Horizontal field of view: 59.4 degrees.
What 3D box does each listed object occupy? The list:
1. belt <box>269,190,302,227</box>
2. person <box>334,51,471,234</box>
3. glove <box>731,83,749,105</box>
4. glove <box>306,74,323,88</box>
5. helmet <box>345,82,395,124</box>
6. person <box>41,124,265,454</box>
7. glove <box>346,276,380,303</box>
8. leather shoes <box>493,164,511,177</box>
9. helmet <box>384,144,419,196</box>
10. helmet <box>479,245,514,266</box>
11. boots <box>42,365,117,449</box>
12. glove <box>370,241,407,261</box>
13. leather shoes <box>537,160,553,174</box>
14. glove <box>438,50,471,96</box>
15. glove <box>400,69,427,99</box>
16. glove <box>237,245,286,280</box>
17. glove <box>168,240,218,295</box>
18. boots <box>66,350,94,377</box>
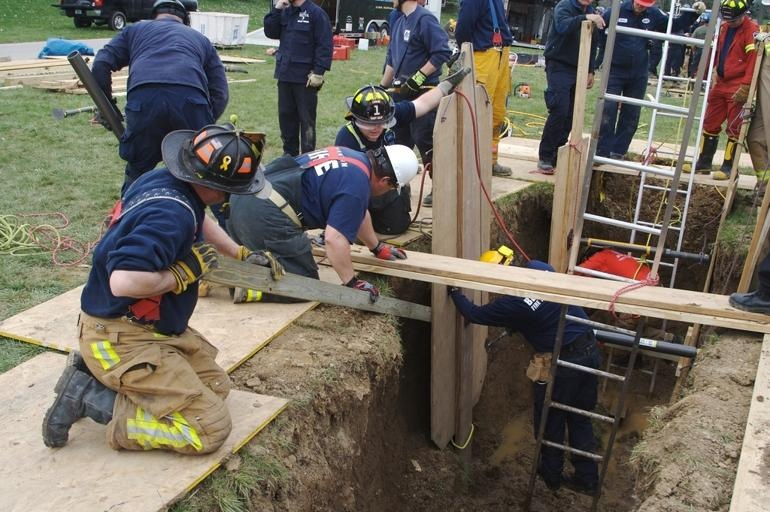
[{"bbox_3d":[-0.932,-0.448,6.480,0.080,0.338,0.244,-45,35,-2],"label":"belt"},{"bbox_3d":[0.055,-1.285,7.487,1.275,1.950,0.906,28,49,23],"label":"person"},{"bbox_3d":[4.603,-2.080,8.690,0.139,0.269,0.336,9,23,20],"label":"glove"},{"bbox_3d":[-0.900,-2.284,8.710,0.145,0.159,0.181,35,27,-26],"label":"glove"},{"bbox_3d":[-0.134,-1.593,7.182,0.501,0.413,0.323,0,21,-3],"label":"helmet"},{"bbox_3d":[-1.756,0.259,5.162,1.483,2.373,0.973,1,21,1],"label":"person"},{"bbox_3d":[-0.201,0.305,6.498,0.295,0.123,0.236,24,33,0],"label":"glove"},{"bbox_3d":[1.655,-1.207,9.460,0.175,0.102,0.252,-8,13,-38],"label":"leather shoes"},{"bbox_3d":[0.140,-0.868,6.570,0.335,0.328,0.404,-11,-2,14],"label":"helmet"},{"bbox_3d":[1.171,0.037,7.130,0.327,0.120,0.226,-10,31,42],"label":"helmet"},{"bbox_3d":[-2.244,1.156,5.267,0.715,0.329,0.704,29,-8,-24],"label":"boots"},{"bbox_3d":[0.046,-0.032,6.794,0.323,0.127,0.171,12,42,5],"label":"glove"},{"bbox_3d":[2.312,-1.253,9.676,0.227,0.231,0.141,-8,13,30],"label":"leather shoes"},{"bbox_3d":[0.755,-1.921,7.099,0.272,0.212,0.628,19,50,-5],"label":"glove"},{"bbox_3d":[0.354,-2.043,7.941,0.248,0.134,0.342,-27,17,28],"label":"glove"},{"bbox_3d":[-1.054,0.031,5.822,0.370,0.148,0.237,35,15,-25],"label":"glove"},{"bbox_3d":[-1.452,0.079,5.153,0.156,0.255,0.401,-3,28,45],"label":"glove"},{"bbox_3d":[-2.379,0.831,5.235,0.208,0.069,0.155,38,22,5],"label":"boots"}]
